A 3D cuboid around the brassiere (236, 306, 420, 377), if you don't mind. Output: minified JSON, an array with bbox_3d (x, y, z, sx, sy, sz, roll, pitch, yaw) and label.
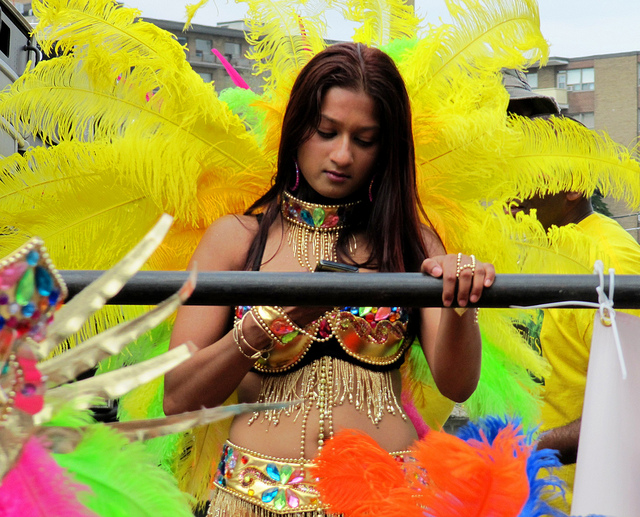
[{"bbox_3d":[0.013,0.204,2.169,0.576,0.180,0.356,-4,7,4],"label":"brassiere"}]

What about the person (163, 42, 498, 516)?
[{"bbox_3d":[0.058,0.041,1.956,0.831,1.164,0.905,9,20,35],"label":"person"}]

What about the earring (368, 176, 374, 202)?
[{"bbox_3d":[0.149,-0.194,2.203,0.015,0.062,0.013,0,17,13],"label":"earring"}]

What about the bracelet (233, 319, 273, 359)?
[{"bbox_3d":[-0.176,0.201,1.866,0.087,0.100,0.044,13,9,10],"label":"bracelet"}]
